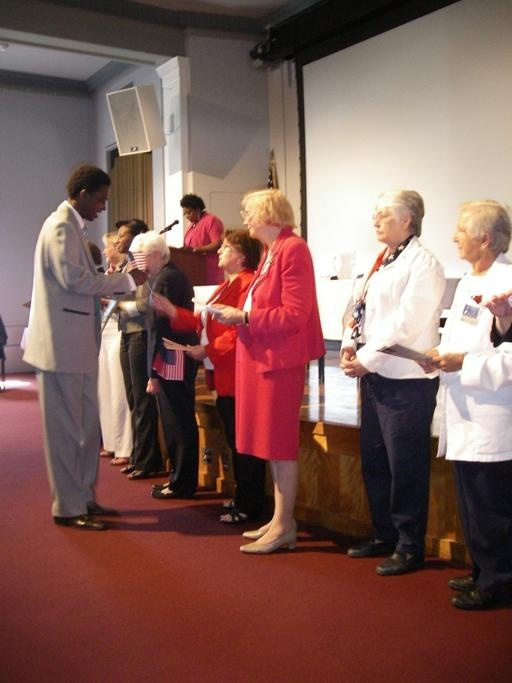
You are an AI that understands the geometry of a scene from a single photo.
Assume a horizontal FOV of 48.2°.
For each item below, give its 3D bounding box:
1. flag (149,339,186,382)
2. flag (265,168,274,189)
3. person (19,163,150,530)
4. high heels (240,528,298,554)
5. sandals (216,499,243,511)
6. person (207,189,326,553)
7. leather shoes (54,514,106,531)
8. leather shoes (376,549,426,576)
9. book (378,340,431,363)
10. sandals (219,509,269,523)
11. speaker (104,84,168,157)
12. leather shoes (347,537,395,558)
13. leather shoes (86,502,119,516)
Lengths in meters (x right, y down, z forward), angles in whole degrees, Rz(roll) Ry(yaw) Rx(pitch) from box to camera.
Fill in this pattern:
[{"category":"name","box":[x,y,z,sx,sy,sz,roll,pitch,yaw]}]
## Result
[{"category":"flag","box":[-0.449,0.090,2.935,0.209,0.265,0.152,-1,-10,41]},{"category":"flag","box":[0.190,-2.094,7.257,0.118,0.336,0.239,-2,-2,2]},{"category":"person","box":[-0.802,0.003,2.579,0.411,1.636,0.336,0,-2,-42]},{"category":"high heels","box":[0.051,0.755,2.210,0.233,0.091,0.083,-1,-6,-8]},{"category":"sandals","box":[-0.124,0.771,2.711,0.055,0.052,0.139,4,-3,-43]},{"category":"person","box":[0.049,0.114,2.176,0.413,1.372,0.388,-2,-2,13]},{"category":"leather shoes","box":[-0.772,0.793,2.558,0.240,0.087,0.080,0,-3,13]},{"category":"leather shoes","box":[0.478,0.739,1.897,0.180,0.068,0.065,0,-6,-21]},{"category":"book","box":[0.446,0.028,1.721,0.168,0.017,0.127,19,-12,-19]},{"category":"sandals","box":[-0.062,0.777,2.597,0.185,0.048,0.080,5,-12,-21]},{"category":"speaker","box":[-1.394,-2.502,6.494,0.605,0.705,0.369,-2,-2,21]},{"category":"leather shoes","box":[0.413,0.749,2.097,0.183,0.062,0.065,2,-5,-4]},{"category":"leather shoes","box":[-0.733,0.797,2.734,0.166,0.062,0.055,0,-2,4]}]
